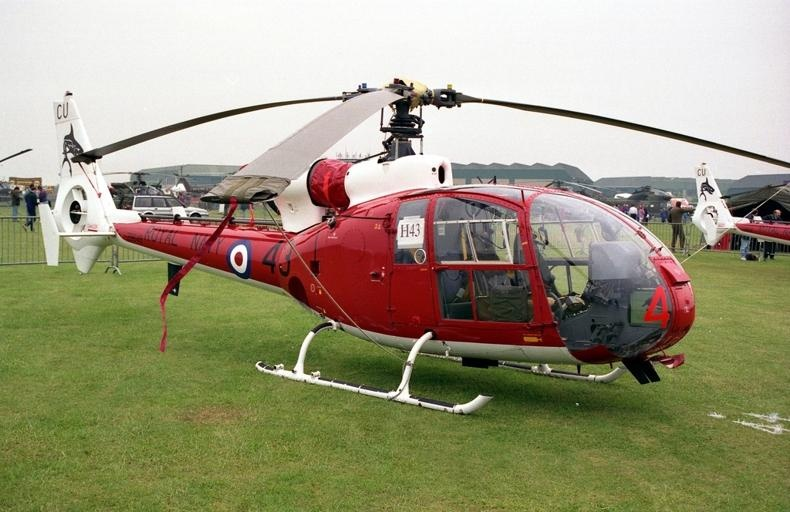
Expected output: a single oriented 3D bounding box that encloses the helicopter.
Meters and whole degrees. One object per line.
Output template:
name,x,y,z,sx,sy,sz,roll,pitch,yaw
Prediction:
helicopter,-0.786,0.081,8.603,8.431,2.568,6.665,2,6,32
